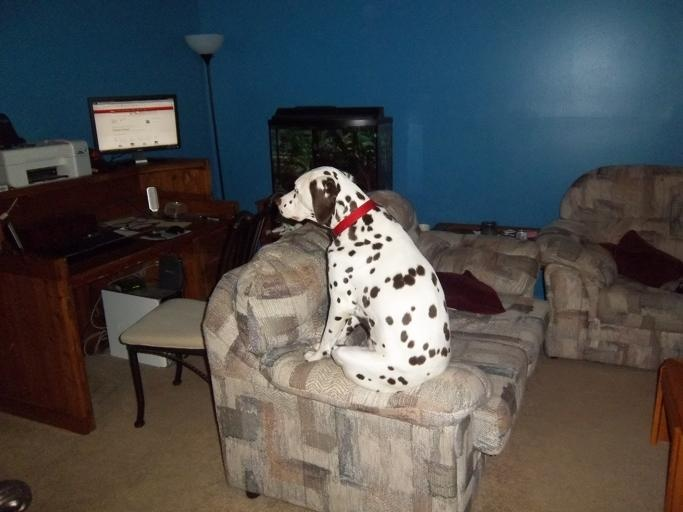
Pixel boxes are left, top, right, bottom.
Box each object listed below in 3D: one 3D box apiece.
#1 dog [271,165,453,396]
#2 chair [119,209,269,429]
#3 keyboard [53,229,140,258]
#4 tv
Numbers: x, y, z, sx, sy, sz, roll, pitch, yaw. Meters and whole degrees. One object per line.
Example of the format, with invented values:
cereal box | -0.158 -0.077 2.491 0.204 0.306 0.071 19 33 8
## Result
dog | 0.100 0.078 2.610 0.917 0.920 0.577 15 22 34
chair | -0.863 0.381 3.228 0.828 1.339 0.729 7 28 -2
keyboard | -1.507 -0.082 3.440 0.168 0.056 0.383 13 26 19
tv | -1.513 -0.924 4.093 0.160 0.454 0.615 20 27 40
